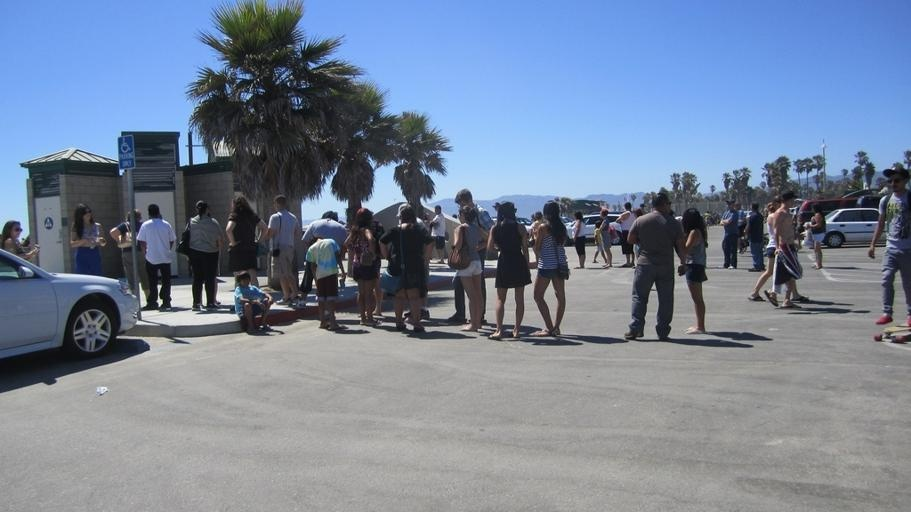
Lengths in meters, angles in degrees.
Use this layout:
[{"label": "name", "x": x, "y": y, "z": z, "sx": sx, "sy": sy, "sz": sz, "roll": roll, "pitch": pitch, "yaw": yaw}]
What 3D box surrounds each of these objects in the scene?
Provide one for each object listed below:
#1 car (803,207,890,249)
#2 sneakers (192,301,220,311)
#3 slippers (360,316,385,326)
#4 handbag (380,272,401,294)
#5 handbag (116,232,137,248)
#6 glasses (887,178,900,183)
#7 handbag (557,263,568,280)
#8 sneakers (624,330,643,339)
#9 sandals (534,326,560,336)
[{"label": "car", "x": 18.390, "y": -1.450, "z": 29.350, "sx": 3.848, "sy": 1.639, "sz": 2.216, "roll": -4, "pitch": 3, "yaw": 6}, {"label": "sneakers", "x": -5.693, "y": 1.135, "z": 13.962, "sx": 0.652, "sy": 0.258, "sz": 0.241, "roll": 0, "pitch": 0, "yaw": -6}, {"label": "slippers", "x": -1.766, "y": 1.355, "z": 12.890, "sx": 0.564, "sy": 0.246, "sz": 0.178, "roll": -3, "pitch": -2, "yaw": 0}, {"label": "handbag", "x": -1.291, "y": 0.524, "z": 12.227, "sx": 0.420, "sy": 0.405, "sz": 0.178, "roll": -4, "pitch": -13, "yaw": -4}, {"label": "handbag", "x": -7.529, "y": -0.384, "z": 14.081, "sx": 0.338, "sy": 0.360, "sz": 0.260, "roll": -11, "pitch": -4, "yaw": -30}, {"label": "glasses", "x": 7.582, "y": -1.319, "z": 10.663, "sx": 0.118, "sy": 0.077, "sz": 0.152, "roll": -6, "pitch": 7, "yaw": -37}, {"label": "handbag", "x": 1.980, "y": 0.291, "z": 11.489, "sx": 0.285, "sy": 0.345, "sz": 0.170, "roll": 2, "pitch": 2, "yaw": -3}, {"label": "sneakers", "x": 3.196, "y": 1.426, "z": 11.096, "sx": 0.281, "sy": 0.134, "sz": 0.147, "roll": 1, "pitch": 2, "yaw": 14}, {"label": "sandals", "x": 1.713, "y": 1.420, "z": 11.569, "sx": 0.363, "sy": 0.128, "sz": 0.203, "roll": 2, "pitch": -5, "yaw": 2}]
